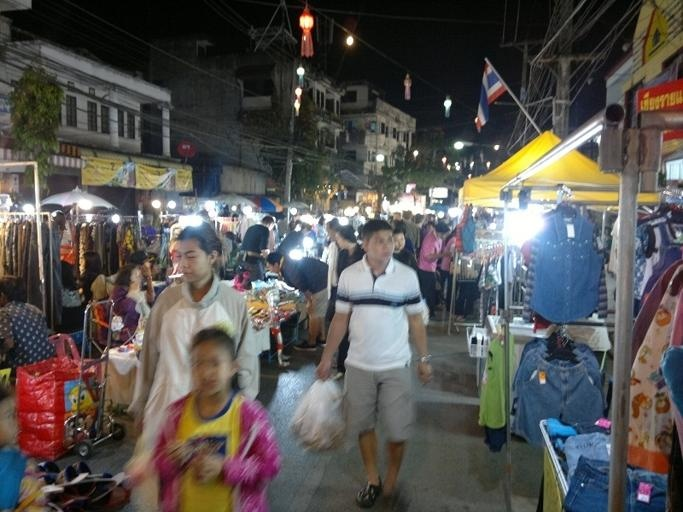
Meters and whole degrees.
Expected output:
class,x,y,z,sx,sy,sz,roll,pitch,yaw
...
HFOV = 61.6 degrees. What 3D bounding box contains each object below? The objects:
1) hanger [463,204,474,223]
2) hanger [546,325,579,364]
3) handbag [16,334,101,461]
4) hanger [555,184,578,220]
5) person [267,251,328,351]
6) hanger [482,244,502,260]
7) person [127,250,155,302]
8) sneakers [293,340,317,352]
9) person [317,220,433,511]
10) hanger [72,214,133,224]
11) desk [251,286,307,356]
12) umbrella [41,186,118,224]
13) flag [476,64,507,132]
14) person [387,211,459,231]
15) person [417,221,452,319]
class,x,y,z,sx,sy,sz,roll,pitch,yaw
hanger,2.314,-0.770,10.451,0.160,0.489,0.111,-1,1,-36
hanger,2.398,0.906,6.258,0.213,0.109,0.436,5,46,17
handbag,-3.039,1.422,6.223,0.521,1.291,0.796,-1,0,15
hanger,2.574,-0.604,6.550,0.096,0.349,0.323,-12,3,16
person,-0.670,0.704,9.462,1.039,1.738,0.711,-6,15,-8
hanger,2.347,-0.064,8.875,0.294,0.107,0.299,8,1,-36
person,-2.920,0.298,8.531,0.227,0.919,0.207,9,23,-5
sneakers,-0.603,1.498,9.643,0.354,0.176,0.158,3,-6,5
person,0.339,0.991,5.416,0.998,2.626,0.608,3,9,9
hanger,-5.200,-0.815,12.467,0.558,0.189,0.626,4,9,13
desk,-1.171,0.864,9.090,1.079,0.503,1.251,8,34,3
umbrella,-5.693,-1.151,12.620,1.192,0.692,1.340,0,0,1
flag,3.205,-3.501,12.242,0.641,1.779,0.155,-9,-25,33
person,1.843,-1.010,15.724,1.086,0.566,1.492,-2,1,-37
person,2.029,0.304,11.945,0.674,2.296,0.721,20,34,35
